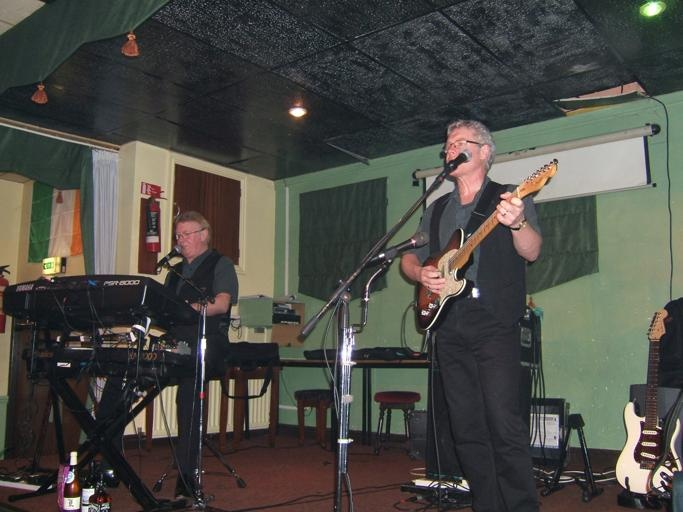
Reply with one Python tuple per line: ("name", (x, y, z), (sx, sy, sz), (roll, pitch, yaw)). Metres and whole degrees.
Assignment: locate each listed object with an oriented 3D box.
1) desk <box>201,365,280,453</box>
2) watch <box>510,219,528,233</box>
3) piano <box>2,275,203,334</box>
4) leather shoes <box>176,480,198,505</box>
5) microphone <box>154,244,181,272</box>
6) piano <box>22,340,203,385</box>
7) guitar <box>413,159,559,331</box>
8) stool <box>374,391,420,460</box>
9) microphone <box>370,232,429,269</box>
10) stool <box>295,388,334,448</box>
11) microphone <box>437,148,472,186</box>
("desk", (-0.979, 1.585, 7.870), (0.805, 0.914, 0.853), (-7, -25, 29))
("watch", (1.067, -0.178, 4.414), (0.080, 0.023, 0.078), (-32, 8, -35))
("piano", (-1.658, 0.371, 5.118), (0.787, 0.239, 0.566), (-5, -21, 20))
("leather shoes", (-1.140, 1.705, 5.304), (0.144, 0.184, 0.236), (2, -9, -13))
("microphone", (-1.580, 0.023, 6.581), (0.105, 0.105, 0.317), (13, -55, -45))
("piano", (-1.666, 0.799, 5.302), (1.186, 0.282, 0.496), (-4, -10, 22))
("guitar", (1.053, -0.030, 5.133), (0.242, 0.627, 1.754), (18, -52, -24))
("stool", (0.574, 1.743, 7.599), (0.563, 0.775, 0.570), (-5, -18, 17))
("microphone", (0.424, -0.032, 5.300), (0.139, 0.105, 0.484), (39, -59, -24))
("stool", (-0.269, 1.734, 7.911), (0.574, 0.715, 0.554), (-1, -20, 3))
("microphone", (0.759, -0.596, 4.950), (0.141, 0.143, 0.466), (33, 4, 5))
